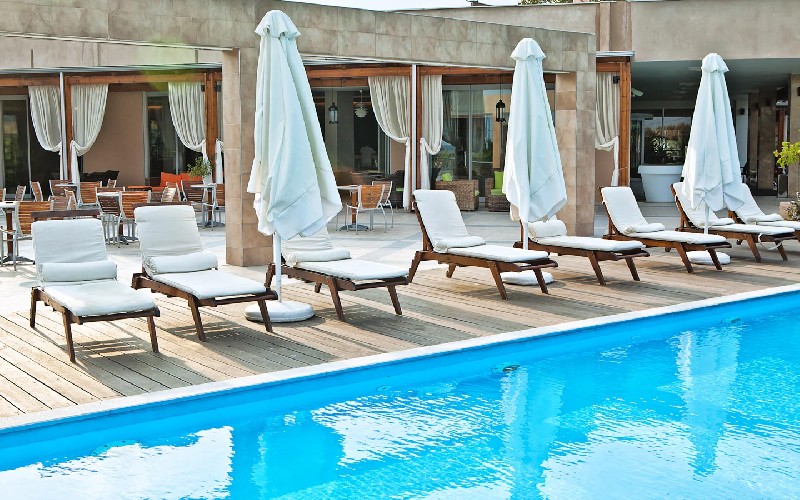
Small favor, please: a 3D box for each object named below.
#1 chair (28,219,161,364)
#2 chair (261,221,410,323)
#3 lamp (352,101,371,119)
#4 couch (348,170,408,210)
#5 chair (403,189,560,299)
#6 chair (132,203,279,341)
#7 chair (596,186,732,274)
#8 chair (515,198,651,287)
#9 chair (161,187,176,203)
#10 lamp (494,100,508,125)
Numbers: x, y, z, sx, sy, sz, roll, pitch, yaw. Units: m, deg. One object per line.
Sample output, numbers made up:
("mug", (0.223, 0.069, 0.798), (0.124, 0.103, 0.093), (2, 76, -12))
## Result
("chair", (-2.998, 0.265, 5.593), (1.083, 1.076, 1.823), (-8, 17, -41))
("chair", (-0.728, 0.196, 6.660), (0.917, 0.745, 1.620), (-5, 12, -38))
("lamp", (-1.243, -4.501, 19.058), (0.585, 0.600, 0.507), (-1, 5, -4))
("couch", (-0.575, -1.816, 17.497), (1.784, 1.303, 1.362), (-5, 9, -18))
("chair", (1.063, -0.129, 7.555), (1.820, 0.938, 0.945), (15, 18, 40))
("chair", (-2.119, 0.166, 6.153), (1.644, 0.886, 0.838), (21, 21, 37))
("chair", (3.933, -0.349, 8.811), (0.886, 0.884, 1.721), (-16, 20, -34))
("chair", (2.437, -0.132, 8.131), (0.812, 0.771, 1.653), (-7, 12, -42))
("chair", (-4.593, -1.100, 11.912), (0.291, 0.286, 2.801), (-9, 11, -20))
("lamp", (3.066, -4.150, 17.799), (0.374, 0.716, 0.993), (-4, 10, 10))
